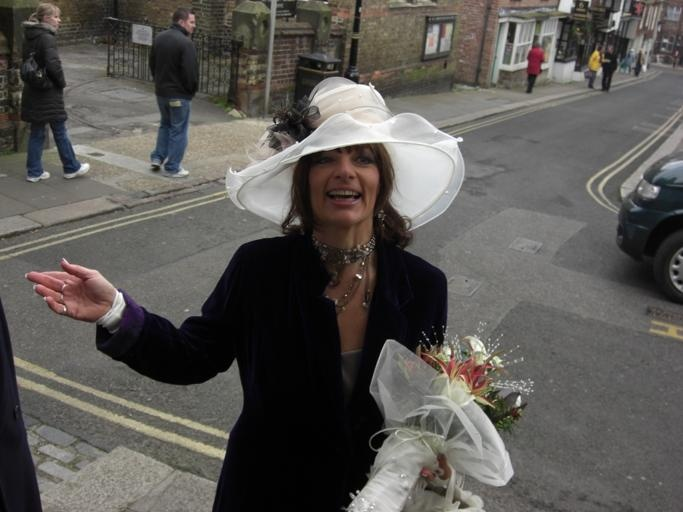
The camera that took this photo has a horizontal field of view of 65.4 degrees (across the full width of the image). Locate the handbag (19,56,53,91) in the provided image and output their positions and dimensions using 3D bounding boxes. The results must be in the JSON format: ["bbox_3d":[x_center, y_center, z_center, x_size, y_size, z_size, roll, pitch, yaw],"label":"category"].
[{"bbox_3d":[-5.051,-3.029,8.785,0.265,0.469,0.454,-25,5,-40],"label":"handbag"}]

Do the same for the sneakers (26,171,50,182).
[{"bbox_3d":[-5.215,-1.355,9.157,0.150,0.176,0.400,12,22,19],"label":"sneakers"}]

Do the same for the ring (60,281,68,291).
[{"bbox_3d":[-0.988,0.109,1.880,0.020,0.024,0.021,4,25,-2],"label":"ring"}]

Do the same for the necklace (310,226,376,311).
[{"bbox_3d":[0.012,0.044,2.194,0.212,0.319,0.218,3,2,-5],"label":"necklace"}]

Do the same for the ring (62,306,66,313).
[{"bbox_3d":[-0.958,0.184,1.828,0.007,0.022,0.016,-10,-3,29],"label":"ring"}]
